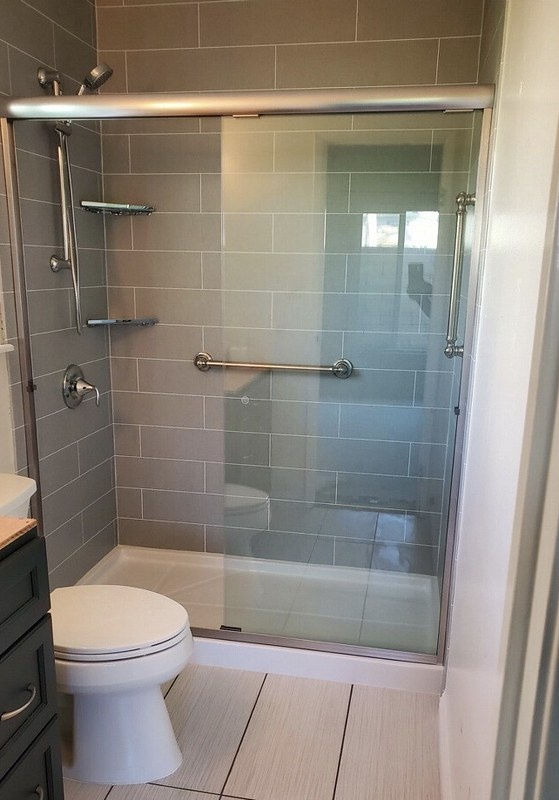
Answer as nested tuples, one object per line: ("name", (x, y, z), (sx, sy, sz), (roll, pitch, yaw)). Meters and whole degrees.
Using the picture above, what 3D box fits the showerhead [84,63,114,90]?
("showerhead", (-0.581, -1.030, 1.951), (0.074, 0.059, 0.123), (-4, 10, -35))

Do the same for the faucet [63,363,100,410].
("faucet", (-0.769, -0.053, 2.359), (0.060, 0.138, 0.139), (3, 26, 7))

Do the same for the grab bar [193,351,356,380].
("grab bar", (-0.001, -0.121, 2.094), (0.645, 0.109, 0.074), (4, 11, 14))

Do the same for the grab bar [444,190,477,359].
("grab bar", (0.529, -0.363, 1.815), (0.078, 0.484, 0.044), (7, 10, 34))
